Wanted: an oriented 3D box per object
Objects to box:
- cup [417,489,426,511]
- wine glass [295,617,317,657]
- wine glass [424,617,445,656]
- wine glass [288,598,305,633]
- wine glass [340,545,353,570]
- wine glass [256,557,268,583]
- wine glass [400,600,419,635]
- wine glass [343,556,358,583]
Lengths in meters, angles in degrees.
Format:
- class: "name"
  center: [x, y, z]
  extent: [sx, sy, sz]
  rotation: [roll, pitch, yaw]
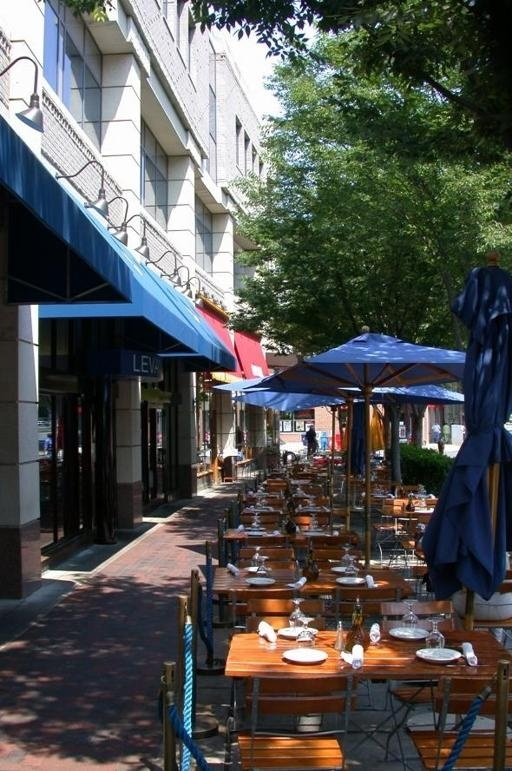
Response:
- class: "cup"
  center: [2.849, 1.954, 13.172]
  extent: [0.179, 0.348, 0.206]
  rotation: [0, -8, 6]
- class: "wine glass"
  center: [0.276, 1.464, 4.490]
  extent: [0.135, 0.203, 0.114]
  rotation: [6, -8, -40]
- class: "wine glass"
  center: [1.115, 1.518, 4.713]
  extent: [0.134, 0.256, 0.146]
  rotation: [-2, -3, 0]
- class: "wine glass"
  center: [0.263, 1.483, 4.989]
  extent: [0.133, 0.261, 0.138]
  rotation: [3, -6, -9]
- class: "wine glass"
  center: [0.866, 1.598, 7.147]
  extent: [0.116, 0.201, 0.135]
  rotation: [2, -1, -16]
- class: "wine glass"
  center: [0.043, 1.617, 6.885]
  extent: [0.093, 0.183, 0.112]
  rotation: [-4, -8, 15]
- class: "wine glass"
  center: [1.038, 1.529, 5.159]
  extent: [0.131, 0.315, 0.136]
  rotation: [0, -1, 9]
- class: "wine glass"
  center: [0.857, 1.623, 6.959]
  extent: [0.146, 0.222, 0.141]
  rotation: [-4, -9, 32]
